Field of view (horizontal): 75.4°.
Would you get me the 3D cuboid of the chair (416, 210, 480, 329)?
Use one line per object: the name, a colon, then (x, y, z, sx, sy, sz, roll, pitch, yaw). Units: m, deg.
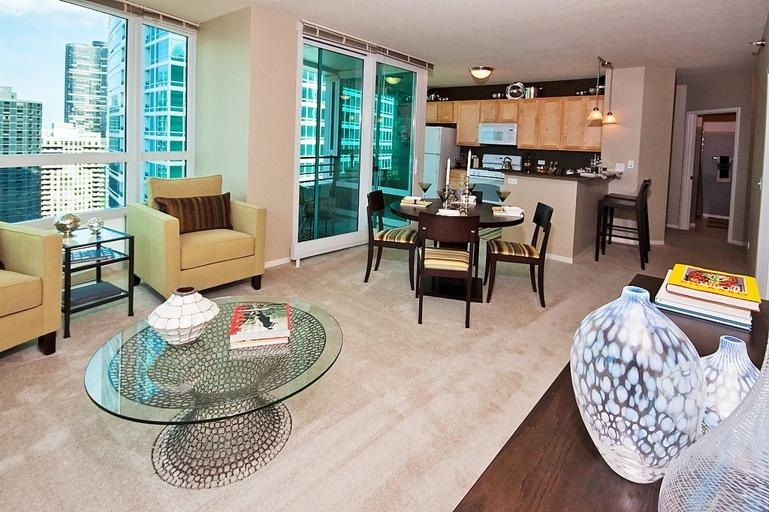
chair: (0.604, 0.007, 4.964, 0.652, 1.001, 1.185, 2, 15, 9)

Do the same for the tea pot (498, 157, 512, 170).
tea pot: (2.274, -1.725, 9.274, 0.245, 0.239, 0.344, 4, 15, 16)

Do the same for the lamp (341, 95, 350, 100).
lamp: (-0.504, -2.023, 6.352, 0.030, 0.058, 0.173, 8, 17, 30)

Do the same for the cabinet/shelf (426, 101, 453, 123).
cabinet/shelf: (1.124, -2.900, 10.016, 0.146, 0.405, 0.629, -13, 19, -40)

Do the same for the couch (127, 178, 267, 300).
couch: (-1.848, -0.314, 5.255, 1.216, 1.353, 1.245, 9, 10, 43)

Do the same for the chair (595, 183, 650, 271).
chair: (3.422, -0.434, 7.152, 0.817, 1.452, 0.845, 7, 21, 30)

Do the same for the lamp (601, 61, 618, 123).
lamp: (3.387, -2.433, 7.519, 0.319, 0.888, 0.631, 6, 16, 22)

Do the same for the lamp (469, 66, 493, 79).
lamp: (1.331, -2.511, 6.780, 0.245, 0.195, 0.484, 4, 15, 16)

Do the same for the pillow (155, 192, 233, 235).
pillow: (-1.933, -0.424, 4.951, 0.447, 0.270, 0.124, -6, -15, -41)

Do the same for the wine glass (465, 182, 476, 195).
wine glass: (0.983, -0.774, 5.673, 0.121, 0.121, 0.119, -3, 5, -43)

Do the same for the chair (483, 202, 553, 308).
chair: (1.460, -0.146, 5.563, 0.634, 0.989, 1.453, 2, 15, 11)

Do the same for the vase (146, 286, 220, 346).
vase: (-1.184, 0.347, 2.957, 0.357, 0.266, 0.353, -4, 9, -17)

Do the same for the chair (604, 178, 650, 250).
chair: (3.495, -0.590, 7.155, 0.621, 1.095, 1.305, 6, 16, 23)

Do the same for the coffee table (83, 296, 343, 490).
coffee table: (-0.969, 0.826, 2.949, 1.370, 0.814, 0.905, -4, 15, -14)
